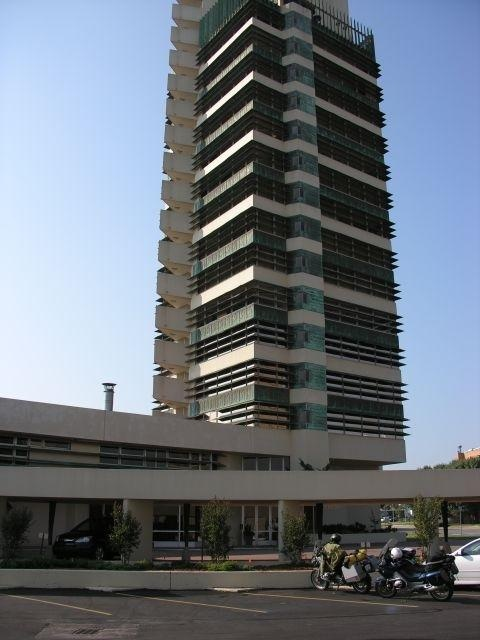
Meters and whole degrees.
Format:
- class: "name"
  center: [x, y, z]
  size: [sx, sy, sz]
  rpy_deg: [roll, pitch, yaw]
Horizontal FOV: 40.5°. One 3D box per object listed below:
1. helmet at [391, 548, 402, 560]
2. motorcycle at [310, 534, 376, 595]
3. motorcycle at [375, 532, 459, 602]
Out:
- class: "helmet"
  center: [3.587, 5.350, 15.081]
  size: [0.263, 0.300, 0.228]
  rpy_deg: [-5, -26, 24]
- class: "motorcycle"
  center: [2.474, 6.281, 16.848]
  size: [1.799, 1.391, 0.733]
  rpy_deg: [-16, -5, 41]
- class: "motorcycle"
  center: [4.227, 5.839, 15.122]
  size: [2.066, 1.551, 0.954]
  rpy_deg: [-16, -27, 43]
